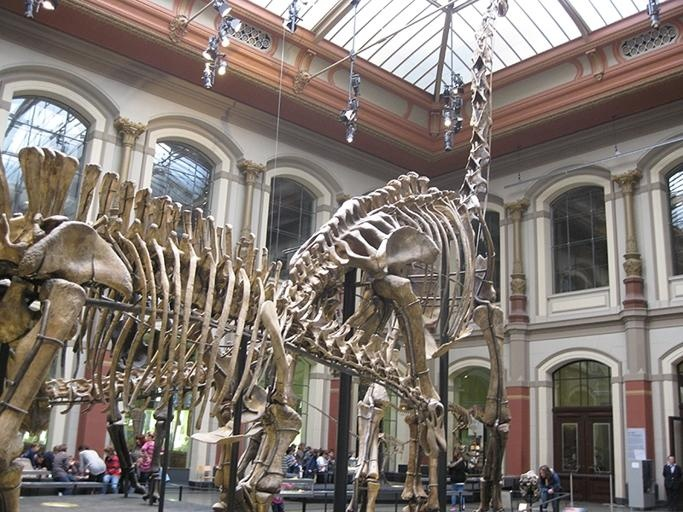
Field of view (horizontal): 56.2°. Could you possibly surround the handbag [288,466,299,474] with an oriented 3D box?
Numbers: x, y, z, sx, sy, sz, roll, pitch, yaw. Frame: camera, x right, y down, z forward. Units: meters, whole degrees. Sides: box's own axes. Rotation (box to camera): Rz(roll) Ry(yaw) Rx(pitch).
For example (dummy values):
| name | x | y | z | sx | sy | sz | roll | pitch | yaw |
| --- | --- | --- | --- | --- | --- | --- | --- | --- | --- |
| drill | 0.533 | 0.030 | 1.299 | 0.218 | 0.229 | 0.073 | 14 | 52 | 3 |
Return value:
| name | x | y | z | sx | sy | sz | roll | pitch | yaw |
| --- | --- | --- | --- | --- | --- | --- | --- | --- | --- |
| handbag | -0.992 | 4.439 | 13.450 | 0.233 | 0.150 | 0.397 | 4 | -21 | -1 |
